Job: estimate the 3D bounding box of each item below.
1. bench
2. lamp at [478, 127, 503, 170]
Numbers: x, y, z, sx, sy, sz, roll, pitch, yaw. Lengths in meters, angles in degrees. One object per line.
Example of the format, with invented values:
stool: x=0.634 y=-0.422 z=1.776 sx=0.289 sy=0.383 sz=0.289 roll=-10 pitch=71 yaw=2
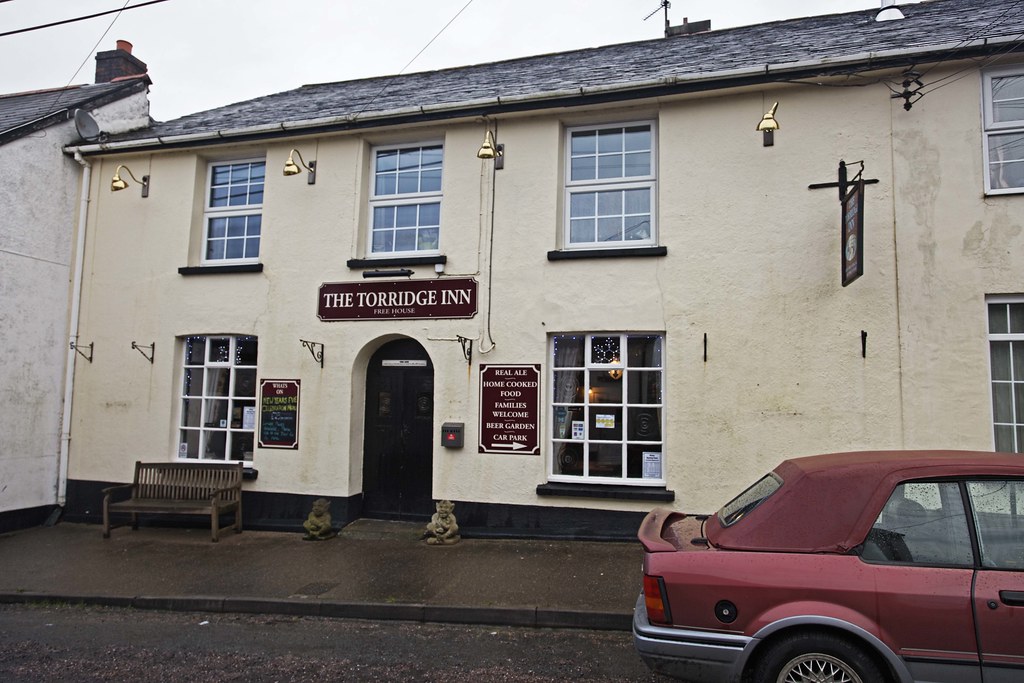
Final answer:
bench: x=-5.723 y=2.680 z=15.752 sx=2.249 sy=1.113 sz=0.837 roll=-2 pitch=0 yaw=17
lamp: x=-0.311 y=-3.326 z=15.392 sx=0.351 sy=0.763 sz=0.991 roll=0 pitch=-6 yaw=3
